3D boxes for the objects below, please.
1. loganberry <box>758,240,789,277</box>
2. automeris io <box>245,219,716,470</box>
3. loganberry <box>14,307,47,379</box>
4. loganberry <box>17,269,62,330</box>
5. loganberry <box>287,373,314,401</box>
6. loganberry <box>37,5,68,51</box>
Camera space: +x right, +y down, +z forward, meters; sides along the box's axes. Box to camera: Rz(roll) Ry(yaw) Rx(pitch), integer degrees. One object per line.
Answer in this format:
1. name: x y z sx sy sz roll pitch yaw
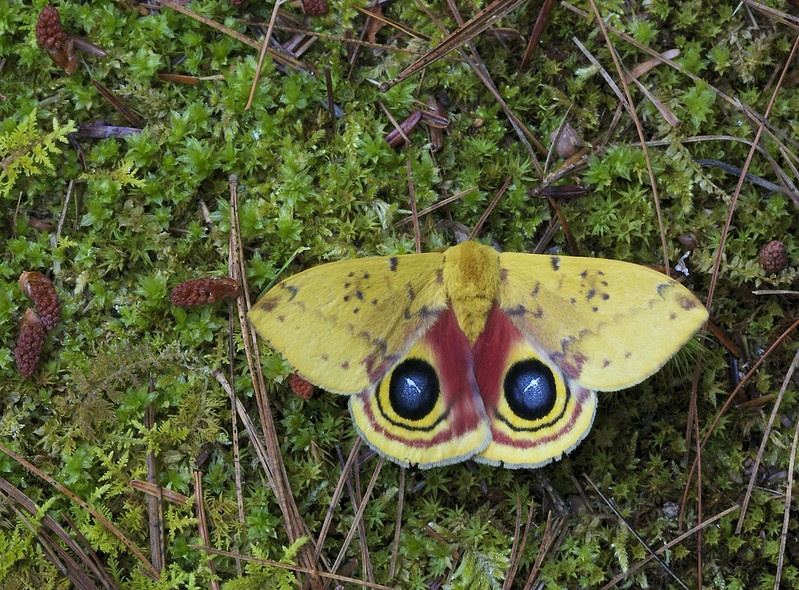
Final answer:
1. loganberry: 2.670 -0.288 5.657 0.166 0.231 0.242 3 120 7
2. automeris io: 0.489 0.341 5.041 2.605 0.529 1.417 -1 84 3
3. loganberry: -2.726 0.351 5.729 0.161 0.133 0.503 9 84 5
4. loganberry: -2.632 0.016 5.753 0.247 0.154 0.447 -32 83 -9
5. loganberry: -0.704 0.631 5.645 0.150 0.098 0.188 -45 83 15
6. loganberry: -2.586 -1.922 5.754 0.186 0.154 0.340 -16 96 -4
